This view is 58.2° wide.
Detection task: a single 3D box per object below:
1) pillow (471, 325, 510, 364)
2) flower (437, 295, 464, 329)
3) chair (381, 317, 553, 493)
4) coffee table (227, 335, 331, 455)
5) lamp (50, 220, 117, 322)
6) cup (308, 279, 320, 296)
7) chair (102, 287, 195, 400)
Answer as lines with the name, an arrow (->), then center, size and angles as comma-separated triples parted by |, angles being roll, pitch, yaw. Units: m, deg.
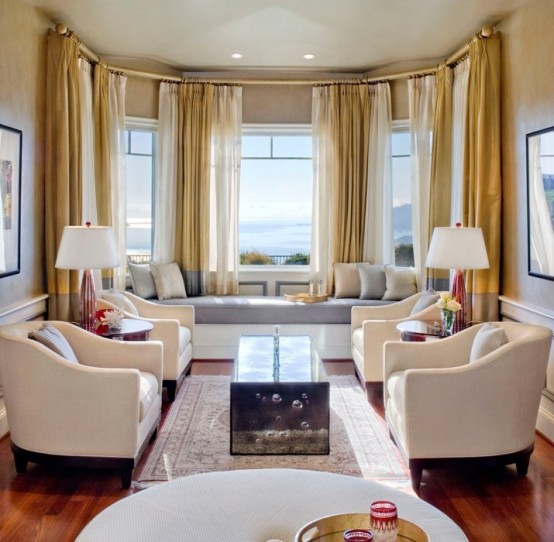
pillow -> 1.118, 0.385, 2.592 | 0.119, 0.090, 0.161 | -35, 0, 17
flower -> 1.201, 0.264, 3.359 | 0.172, 0.236, 0.203 | 0, 3, -4
chair -> 1.023, 0.620, 2.818 | 0.709, 0.878, 0.874 | 0, -1, 3
coffee table -> 0.014, 0.809, 3.334 | 0.607, 0.486, 0.876 | 0, 4, -2
lamp -> -1.348, 0.015, 3.525 | 0.373, 0.706, 0.295 | 1, 3, 12
cup -> 0.438, 0.190, 5.759 | 0.125, 0.302, 0.144 | 2, 8, 3
chair -> -1.032, 0.550, 4.190 | 0.702, 0.937, 0.712 | 1, 3, -1
